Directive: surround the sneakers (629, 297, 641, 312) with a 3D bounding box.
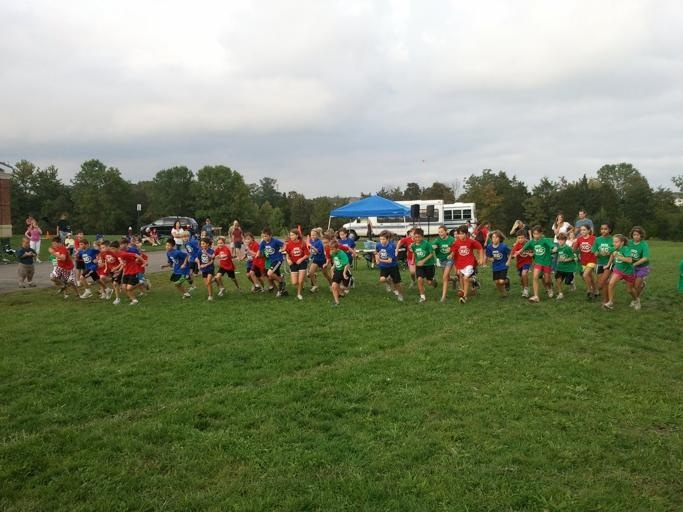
[{"bbox_3d":[6.276,1.018,13.112,0.129,0.164,0.389,-38,2,46],"label":"sneakers"}]

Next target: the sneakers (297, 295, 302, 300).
[{"bbox_3d":[-1.014,1.005,15.103,0.076,0.076,0.173,1,-6,-17],"label":"sneakers"}]

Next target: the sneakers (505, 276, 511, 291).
[{"bbox_3d":[4.188,0.692,15.466,0.133,0.415,0.176,-6,-10,22],"label":"sneakers"}]

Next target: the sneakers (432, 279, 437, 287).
[{"bbox_3d":[2.368,0.680,15.660,0.107,0.141,0.320,-9,39,11],"label":"sneakers"}]

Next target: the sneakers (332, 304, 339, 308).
[{"bbox_3d":[-0.136,1.113,14.036,0.130,0.064,0.187,24,-4,-24],"label":"sneakers"}]

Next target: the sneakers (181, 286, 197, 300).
[{"bbox_3d":[-3.965,0.951,15.958,0.206,0.266,0.609,-1,-14,-4],"label":"sneakers"}]

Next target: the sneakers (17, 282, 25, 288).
[{"bbox_3d":[-8.838,0.785,16.930,0.116,0.184,0.186,-2,-4,-11],"label":"sneakers"}]

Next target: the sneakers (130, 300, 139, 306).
[{"bbox_3d":[-4.981,1.091,14.645,0.248,0.110,0.086,1,-8,18],"label":"sneakers"}]

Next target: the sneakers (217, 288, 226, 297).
[{"bbox_3d":[-3.116,0.921,15.860,0.368,0.267,0.128,-9,-8,39],"label":"sneakers"}]

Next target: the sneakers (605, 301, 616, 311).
[{"bbox_3d":[5.720,1.007,13.132,0.200,0.174,0.402,4,9,23],"label":"sneakers"}]

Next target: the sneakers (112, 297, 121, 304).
[{"bbox_3d":[-5.413,1.078,14.761,0.091,0.134,0.272,2,-5,1],"label":"sneakers"}]
